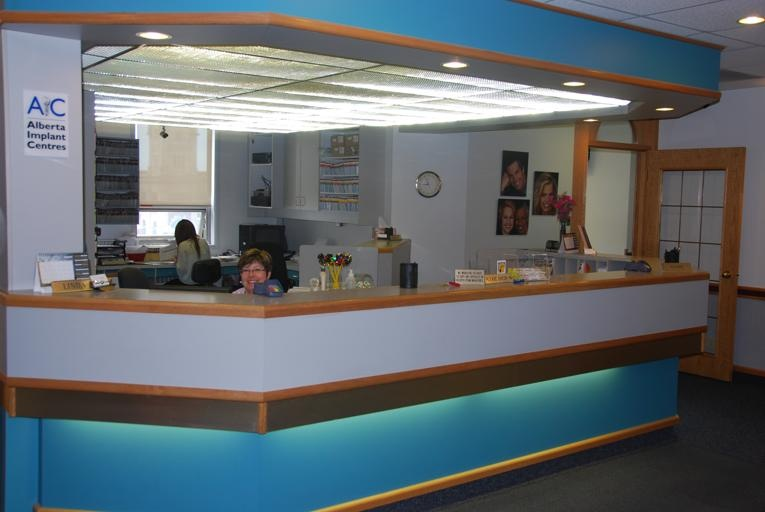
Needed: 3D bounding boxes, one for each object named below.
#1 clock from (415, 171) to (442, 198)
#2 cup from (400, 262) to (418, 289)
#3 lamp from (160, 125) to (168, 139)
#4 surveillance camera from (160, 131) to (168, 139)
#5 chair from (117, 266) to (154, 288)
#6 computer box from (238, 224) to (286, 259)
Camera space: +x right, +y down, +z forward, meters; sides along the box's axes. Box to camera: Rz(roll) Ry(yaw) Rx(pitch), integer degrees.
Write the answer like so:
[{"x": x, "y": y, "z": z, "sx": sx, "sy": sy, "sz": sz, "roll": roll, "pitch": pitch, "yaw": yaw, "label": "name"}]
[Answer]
[{"x": 0.648, "y": -1.033, "z": 8.097, "sx": 0.393, "sy": 0.356, "sz": 0.087, "roll": -7, "pitch": -1, "yaw": -12, "label": "clock"}, {"x": 0.193, "y": 0.155, "z": 4.259, "sx": 0.175, "sy": 0.180, "sz": 0.167, "roll": 1, "pitch": -1, "yaw": 0, "label": "cup"}, {"x": -3.511, "y": -1.978, "z": 9.056, "sx": 0.117, "sy": 0.177, "sz": 0.188, "roll": -7, "pitch": 36, "yaw": -43, "label": "lamp"}, {"x": -3.489, "y": -1.936, "z": 9.065, "sx": 0.080, "sy": 0.115, "sz": 0.116, "roll": -23, "pitch": 22, "yaw": -10, "label": "surveillance camera"}, {"x": -2.289, "y": 0.203, "z": 5.187, "sx": 0.267, "sy": 0.281, "sz": 0.233, "roll": 6, "pitch": 5, "yaw": 40, "label": "chair"}, {"x": -1.990, "y": -0.276, "z": 9.584, "sx": 0.644, "sy": 0.538, "sz": 0.492, "roll": 0, "pitch": 9, "yaw": -15, "label": "computer box"}]
